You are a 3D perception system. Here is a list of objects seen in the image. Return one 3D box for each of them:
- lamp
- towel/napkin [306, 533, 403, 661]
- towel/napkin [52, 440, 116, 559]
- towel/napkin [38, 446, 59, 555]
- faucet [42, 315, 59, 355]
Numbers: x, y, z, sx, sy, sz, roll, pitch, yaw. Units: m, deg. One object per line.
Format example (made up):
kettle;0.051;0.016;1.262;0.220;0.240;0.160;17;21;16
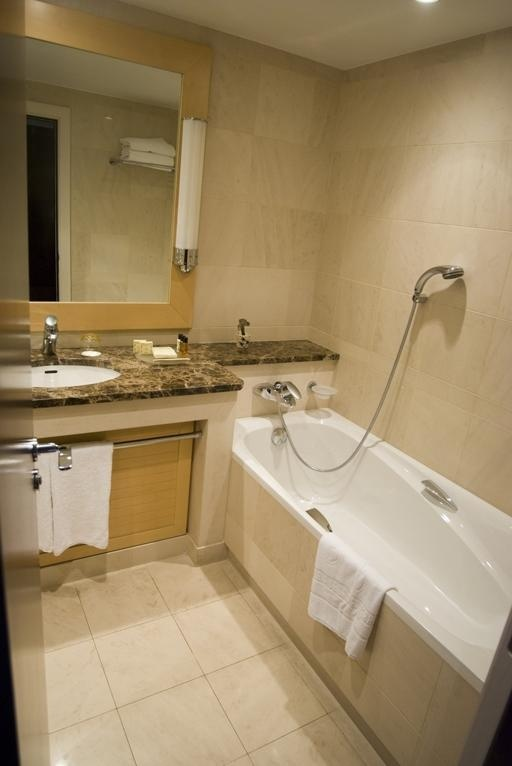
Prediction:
lamp;-0.313;-0.896;2.265;0.086;0.647;0.112;6;17;-1
towel/napkin;0.305;0.749;1.619;0.099;0.346;0.318;-5;17;-32
towel/napkin;-0.742;0.465;2.007;0.263;0.641;0.075;-3;35;-20
towel/napkin;-0.843;0.506;1.939;0.073;0.535;0.186;-4;16;-30
faucet;-0.897;-0.206;2.091;0.055;0.185;0.102;-3;16;-29
